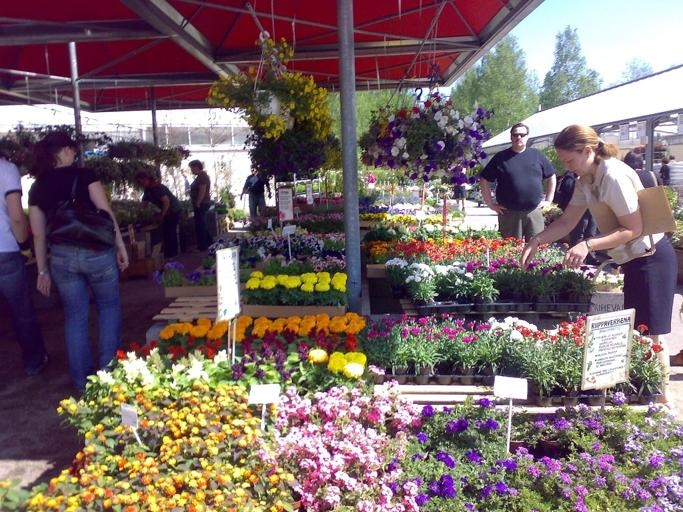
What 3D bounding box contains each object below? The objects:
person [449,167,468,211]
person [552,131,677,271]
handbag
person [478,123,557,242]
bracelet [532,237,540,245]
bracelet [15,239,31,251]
[{"bbox_3d":[2.813,-1.512,13.604,0.425,0.902,0.216,1,30,15],"label":"person"},{"bbox_3d":[1.885,-0.532,4.280,0.920,1.113,0.861,-7,18,14],"label":"person"},{"bbox_3d":[-2.203,-0.381,5.012,0.594,0.775,0.288,15,-27,-26],"label":"handbag"},{"bbox_3d":[1.988,-0.538,6.468,0.784,1.886,0.487,-4,17,10],"label":"person"},{"bbox_3d":[1.428,-0.112,4.233,0.050,0.016,0.054,-2,29,0],"label":"bracelet"},{"bbox_3d":[-2.959,-0.092,5.436,0.115,0.094,0.118,4,6,37],"label":"bracelet"}]
